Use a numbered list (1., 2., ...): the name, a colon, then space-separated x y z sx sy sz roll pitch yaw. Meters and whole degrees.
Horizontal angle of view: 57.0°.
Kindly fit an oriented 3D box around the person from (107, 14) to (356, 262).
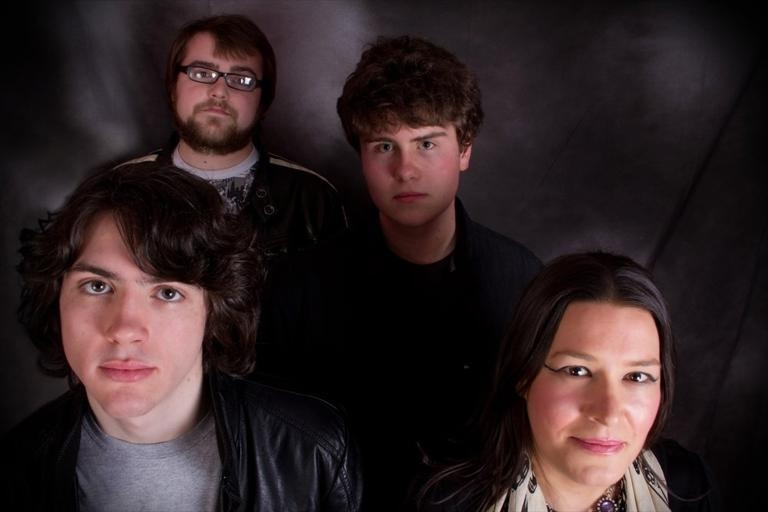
1. person: -1.046 -0.695 4.450 1.666 1.464 0.790 -1 3 -15

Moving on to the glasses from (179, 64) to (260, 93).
1. glasses: -0.985 -1.057 4.245 0.476 0.122 0.128 4 11 -14
